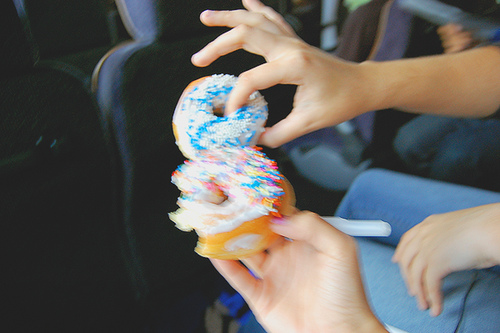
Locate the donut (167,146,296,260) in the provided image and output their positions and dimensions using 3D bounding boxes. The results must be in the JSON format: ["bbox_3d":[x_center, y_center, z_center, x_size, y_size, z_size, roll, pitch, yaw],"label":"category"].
[{"bbox_3d":[-0.051,0.106,1.560,0.386,0.259,0.226,-7,40,-9],"label":"donut"}]
